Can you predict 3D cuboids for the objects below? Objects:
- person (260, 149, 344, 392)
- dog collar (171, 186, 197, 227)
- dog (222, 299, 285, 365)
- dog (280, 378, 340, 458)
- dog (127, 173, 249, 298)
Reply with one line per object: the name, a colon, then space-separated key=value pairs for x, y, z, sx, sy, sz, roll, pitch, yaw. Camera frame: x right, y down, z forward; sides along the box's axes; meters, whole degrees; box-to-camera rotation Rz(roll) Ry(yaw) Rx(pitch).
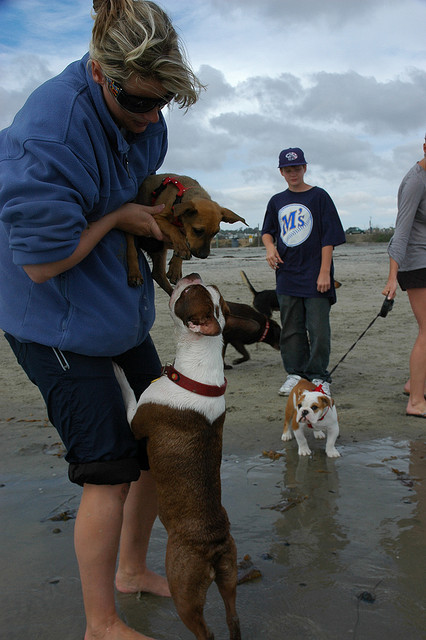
person: x=0.908 y=-0.533 z=5.808 sx=0.510 sy=2.552 sz=0.932 roll=-5 pitch=9 yaw=-26
dog collar: x=-0.174 y=-0.640 z=3.003 sx=0.049 sy=0.172 sz=0.139 roll=0 pitch=-8 yaw=30
dog: x=0.662 y=0.218 z=7.499 sx=0.486 sy=0.763 sz=1.623 roll=4 pitch=-18 yaw=17
dog: x=0.814 y=0.812 z=4.588 sx=0.381 sy=0.549 sz=0.941 roll=-3 pitch=3 yaw=0
dog: x=-0.315 y=-0.710 z=3.305 sx=0.373 sy=0.668 sz=1.328 roll=4 pitch=21 yaw=-31
